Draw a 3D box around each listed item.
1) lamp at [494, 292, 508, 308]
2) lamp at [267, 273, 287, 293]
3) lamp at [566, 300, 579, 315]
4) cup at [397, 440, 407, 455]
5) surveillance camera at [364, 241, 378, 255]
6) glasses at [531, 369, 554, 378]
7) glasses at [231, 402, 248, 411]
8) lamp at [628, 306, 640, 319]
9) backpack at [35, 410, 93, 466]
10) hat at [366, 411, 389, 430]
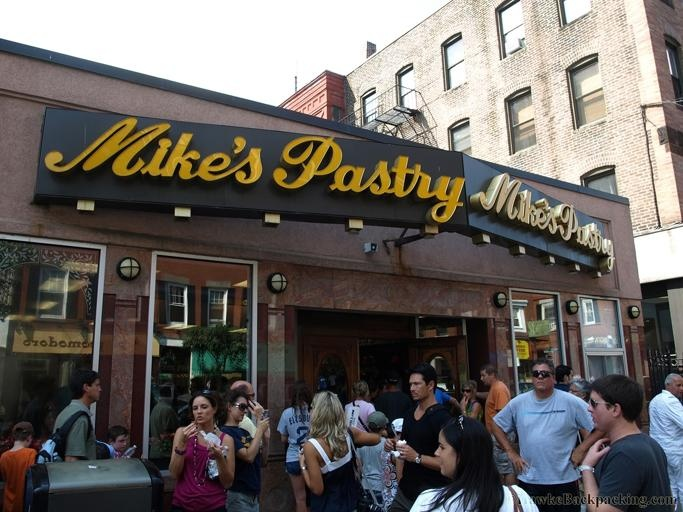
[{"bbox_3d":[3.776,1.027,12.506,0.517,0.416,0.177,10,-18,-41],"label":"lamp"},{"bbox_3d":[-1.147,0.480,9.523,0.388,0.390,0.162,3,-14,-19],"label":"lamp"},{"bbox_3d":[5.945,1.332,13.713,0.329,0.376,0.167,-4,-5,-34],"label":"lamp"},{"bbox_3d":[0.591,1.987,5.494,0.130,0.167,0.160,-1,-23,3],"label":"cup"},{"bbox_3d":[0.626,-0.153,10.732,0.374,0.263,0.188,10,-18,-40],"label":"surveillance camera"},{"bbox_3d":[2.445,1.432,6.432,0.235,0.093,0.133,-5,-14,13],"label":"glasses"},{"bbox_3d":[-1.198,1.807,6.359,0.102,0.089,0.181,-10,-16,30],"label":"glasses"},{"bbox_3d":[8.362,1.585,15.143,0.554,0.393,0.175,9,-17,-37],"label":"lamp"},{"bbox_3d":[-3.025,1.999,5.883,0.610,0.655,0.471,12,-22,-24],"label":"backpack"},{"bbox_3d":[0.470,2.141,6.860,0.213,0.242,0.503,-4,-14,8],"label":"hat"}]
